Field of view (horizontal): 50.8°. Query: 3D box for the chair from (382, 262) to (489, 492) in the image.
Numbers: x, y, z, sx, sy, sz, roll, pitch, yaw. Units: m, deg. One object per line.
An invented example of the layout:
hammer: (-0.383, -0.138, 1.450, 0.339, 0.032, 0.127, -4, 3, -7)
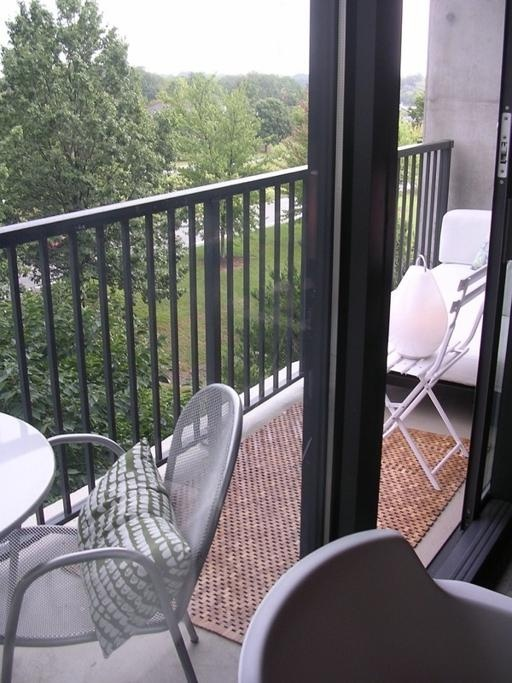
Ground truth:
chair: (0.739, 0.189, 2.240, 0.470, 0.849, 0.548, 11, 25, 30)

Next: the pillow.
pillow: (-0.230, 0.414, 1.042, 0.162, 0.203, 0.441, 16, 19, -18)
